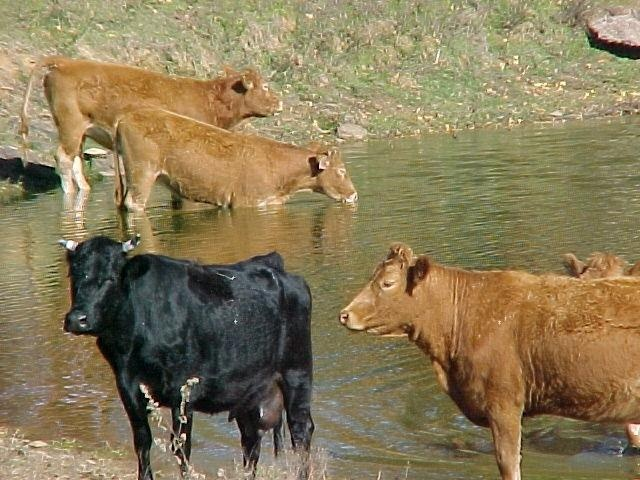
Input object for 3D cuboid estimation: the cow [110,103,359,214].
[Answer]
[{"bbox_3d":[-1.739,-1.294,19.436,4.560,1.872,1.509,8,17,-16],"label":"cow"}]
